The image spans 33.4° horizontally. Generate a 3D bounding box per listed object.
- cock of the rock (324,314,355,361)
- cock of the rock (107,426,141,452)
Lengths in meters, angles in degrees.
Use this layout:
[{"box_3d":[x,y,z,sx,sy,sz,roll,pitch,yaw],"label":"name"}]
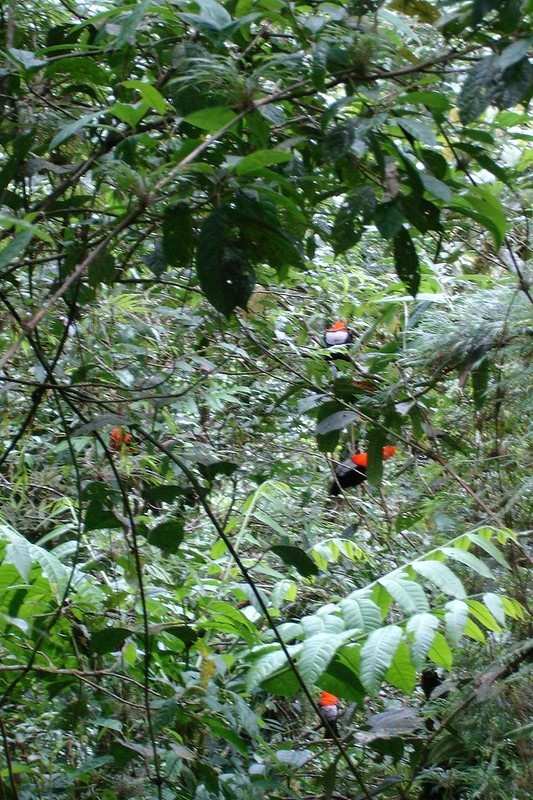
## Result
[{"box_3d":[0.161,-0.126,1.933,0.059,0.076,0.101,1,18,6],"label":"cock of the rock"},{"box_3d":[-0.275,0.078,1.803,0.092,0.045,0.073,-1,5,7],"label":"cock of the rock"}]
